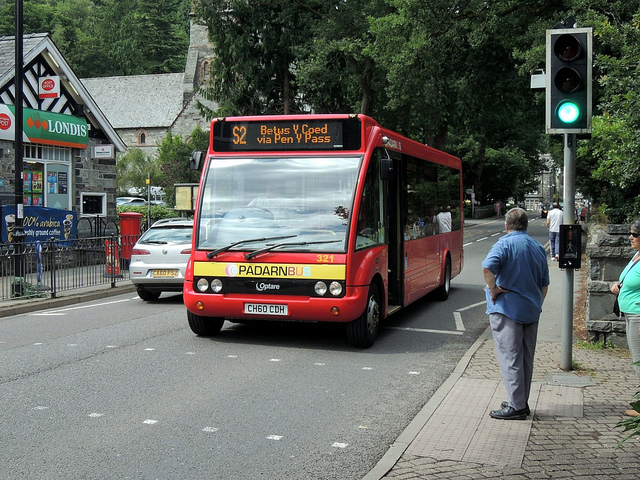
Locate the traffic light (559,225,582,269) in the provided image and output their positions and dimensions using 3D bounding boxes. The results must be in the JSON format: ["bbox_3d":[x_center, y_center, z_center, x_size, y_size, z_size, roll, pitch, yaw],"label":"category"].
[{"bbox_3d":[3.204,0.086,8.786,0.263,0.566,0.210,2,7,19],"label":"traffic light"}]

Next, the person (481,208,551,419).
[{"bbox_3d":[2.167,0.789,7.647,0.530,2.240,0.843,6,9,43],"label":"person"}]

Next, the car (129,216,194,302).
[{"bbox_3d":[-3.292,0.317,15.493,1.219,1.225,2.303,1,5,6],"label":"car"}]
